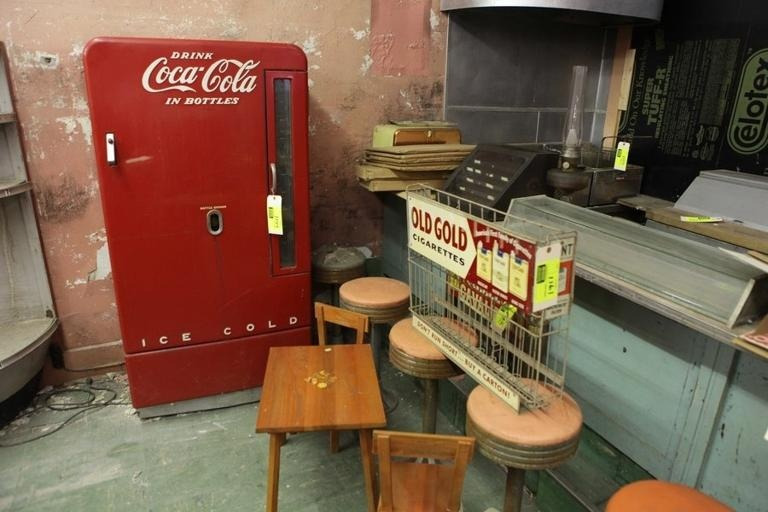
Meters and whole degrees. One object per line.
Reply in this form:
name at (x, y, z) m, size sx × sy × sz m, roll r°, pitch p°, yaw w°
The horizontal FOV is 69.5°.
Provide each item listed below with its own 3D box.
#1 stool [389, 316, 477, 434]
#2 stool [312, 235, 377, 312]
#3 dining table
stool at (0.271, 0.833, 3.644) m, size 0.348 × 0.859 × 0.607 m, roll -14°, pitch 22°, yaw -32°
stool at (-0.397, 0.067, 4.994) m, size 0.537 × 0.789 × 0.528 m, roll -14°, pitch 29°, yaw -28°
dining table at (-0.327, 1.121, 3.906) m, size 0.960 × 0.971 × 1.175 m, roll -2°, pitch 31°, yaw -7°
